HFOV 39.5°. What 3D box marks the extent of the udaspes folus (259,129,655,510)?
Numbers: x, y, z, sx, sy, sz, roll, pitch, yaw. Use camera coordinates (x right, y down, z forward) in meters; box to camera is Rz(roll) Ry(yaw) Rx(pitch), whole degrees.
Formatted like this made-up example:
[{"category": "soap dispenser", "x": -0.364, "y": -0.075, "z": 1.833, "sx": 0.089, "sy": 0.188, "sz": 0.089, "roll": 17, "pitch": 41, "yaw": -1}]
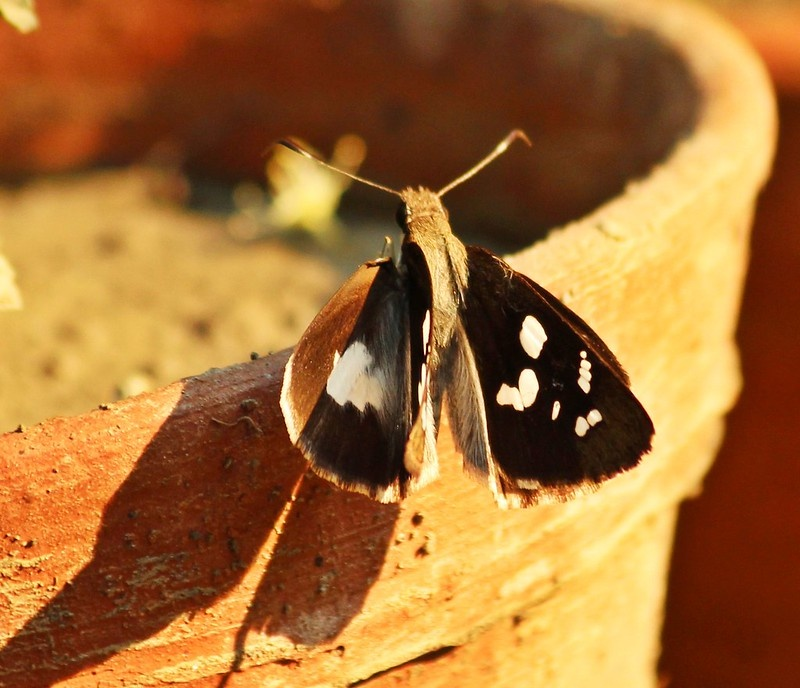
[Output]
[{"category": "udaspes folus", "x": 0.085, "y": 0.016, "z": 1.677, "sx": 0.396, "sy": 0.176, "sz": 0.498, "roll": -5, "pitch": 72, "yaw": -14}]
